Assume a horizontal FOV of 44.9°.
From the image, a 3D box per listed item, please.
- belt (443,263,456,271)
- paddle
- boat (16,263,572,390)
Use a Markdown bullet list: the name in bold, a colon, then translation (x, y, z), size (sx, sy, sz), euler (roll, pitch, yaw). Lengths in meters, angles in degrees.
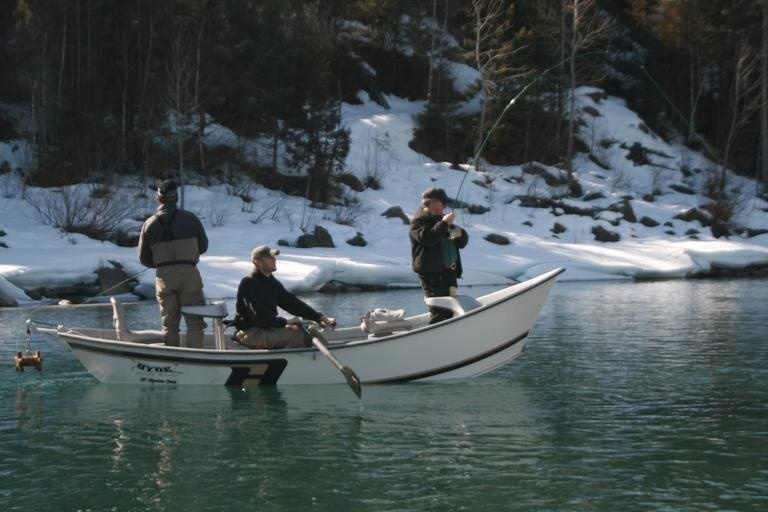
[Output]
- **belt**: translation (1.487, 0.262, 20.978), size (0.228, 0.143, 0.096), euler (-4, 13, 4)
- **paddle**: translation (-1.186, 2.243, 20.611), size (0.537, 0.252, 3.313), euler (21, 5, -39)
- **boat**: translation (-1.046, 2.218, 20.870), size (11.067, 2.763, 2.809), euler (0, 4, -6)
